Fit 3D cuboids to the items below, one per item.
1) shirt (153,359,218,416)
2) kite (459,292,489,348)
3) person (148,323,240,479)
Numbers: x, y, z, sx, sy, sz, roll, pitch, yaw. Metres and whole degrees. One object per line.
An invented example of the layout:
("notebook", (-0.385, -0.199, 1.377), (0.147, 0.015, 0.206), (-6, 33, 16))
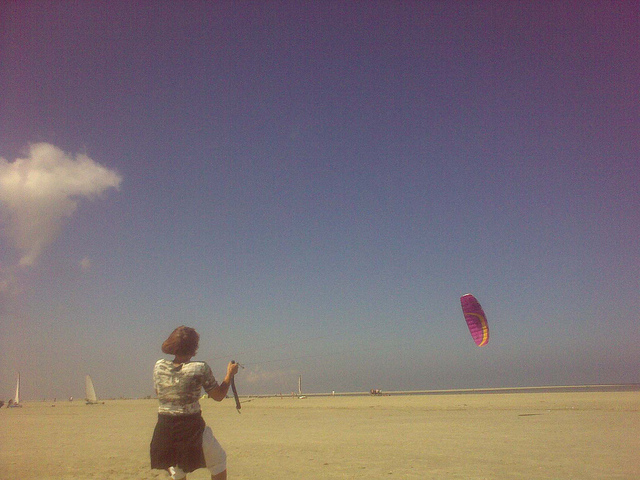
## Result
("shirt", (-2.561, 2.745, 9.221), (1.277, 1.105, 0.771), (0, -13, -1))
("kite", (7.901, 4.094, 25.366), (1.021, 2.521, 1.032), (-10, -16, 17))
("person", (-2.411, 2.979, 9.001), (1.366, 2.742, 0.971), (-1, -16, -16))
